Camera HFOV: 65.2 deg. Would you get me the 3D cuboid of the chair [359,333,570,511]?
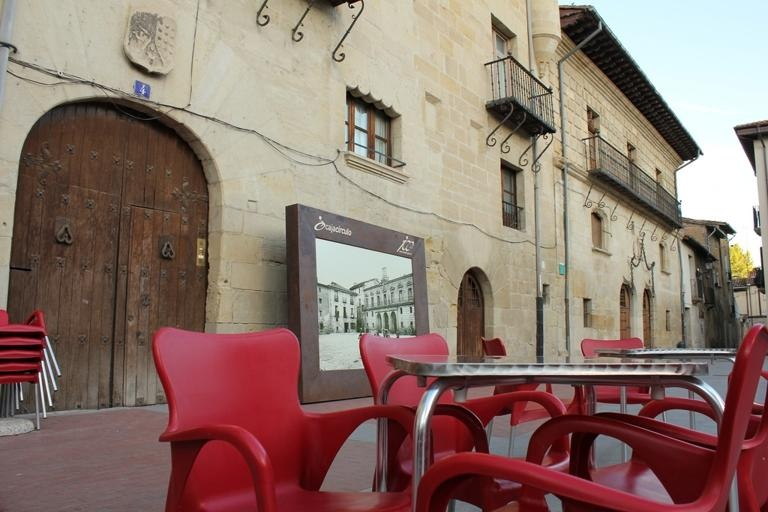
[{"bbox_3d":[0.491,0.845,3.507,0.760,1.333,0.944,12,-21,-32],"label":"chair"}]
